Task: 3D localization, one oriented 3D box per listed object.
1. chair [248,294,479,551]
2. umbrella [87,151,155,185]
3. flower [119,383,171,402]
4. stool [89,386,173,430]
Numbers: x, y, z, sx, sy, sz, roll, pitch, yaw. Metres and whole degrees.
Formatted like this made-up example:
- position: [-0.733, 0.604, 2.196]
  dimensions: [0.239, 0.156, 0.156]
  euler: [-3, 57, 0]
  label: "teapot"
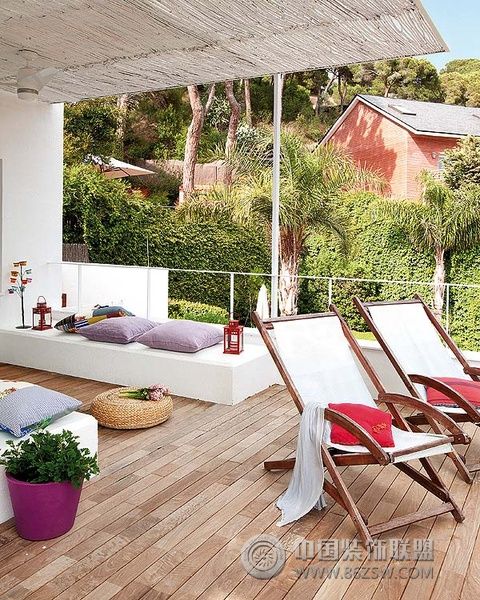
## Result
- position: [0.571, 0.489, 2.629]
  dimensions: [0.822, 0.849, 1.143]
  euler: [-4, 12, -32]
  label: "chair"
- position: [-3.293, -3.485, 13.671]
  dimensions: [1.252, 0.412, 1.348]
  euler: [6, 1, 7]
  label: "umbrella"
- position: [-0.672, 0.652, 3.579]
  dimensions: [0.215, 0.081, 0.145]
  euler: [-2, 0, -5]
  label: "flower"
- position: [-0.718, 0.724, 3.451]
  dimensions: [0.370, 0.109, 0.350]
  euler: [0, 4, -11]
  label: "stool"
